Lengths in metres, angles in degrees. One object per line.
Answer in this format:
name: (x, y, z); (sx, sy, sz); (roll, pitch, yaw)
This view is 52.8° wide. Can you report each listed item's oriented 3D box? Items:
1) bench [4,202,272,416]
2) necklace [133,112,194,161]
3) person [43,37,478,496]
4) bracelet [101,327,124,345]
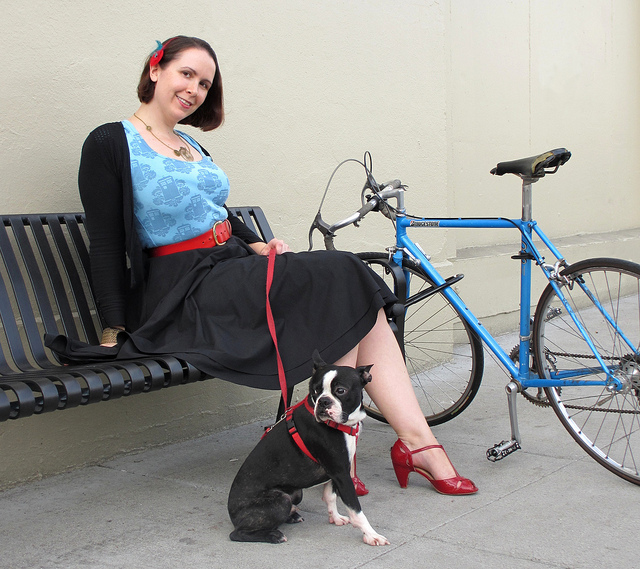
bench: (-0.726, 0.057, 2.433); (1.004, 0.406, 0.378); (-9, 15, -39)
necklace: (-0.632, -0.648, 2.695); (0.211, 0.028, 0.246); (-2, 44, -31)
person: (-0.097, -0.089, 2.477); (1.622, 1.555, 0.780); (8, 18, 22)
bracelet: (-0.779, 0.193, 2.395); (0.063, 0.045, 0.063); (-2, -3, -2)
